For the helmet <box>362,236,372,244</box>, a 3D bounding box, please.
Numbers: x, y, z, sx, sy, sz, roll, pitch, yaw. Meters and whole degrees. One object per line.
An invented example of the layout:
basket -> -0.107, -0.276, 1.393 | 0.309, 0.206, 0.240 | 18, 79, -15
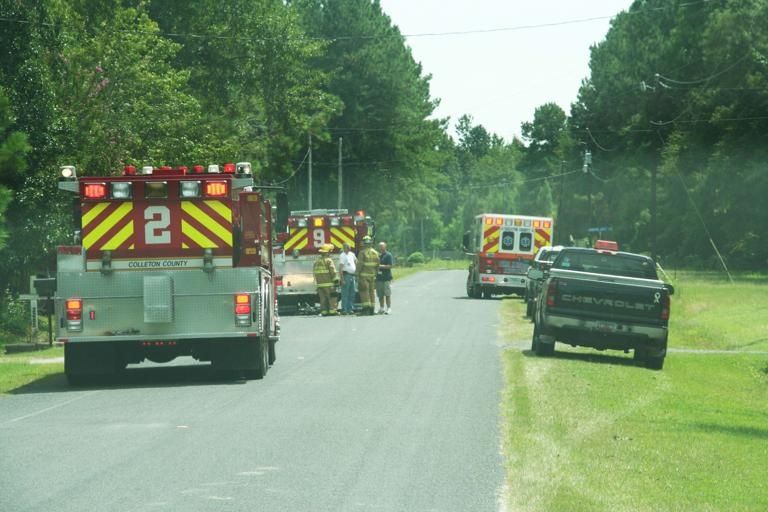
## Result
helmet -> -0.523, -0.482, 33.355 | 0.231, 0.187, 0.232 | 1, -4, -35

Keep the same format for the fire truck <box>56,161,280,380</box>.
fire truck -> -4.621, 0.350, 21.760 | 4.023, 4.391, 0.952 | -1, 0, 0

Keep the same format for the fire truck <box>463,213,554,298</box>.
fire truck -> 6.347, 0.084, 42.679 | 3.710, 3.605, 6.450 | 5, -2, -12
